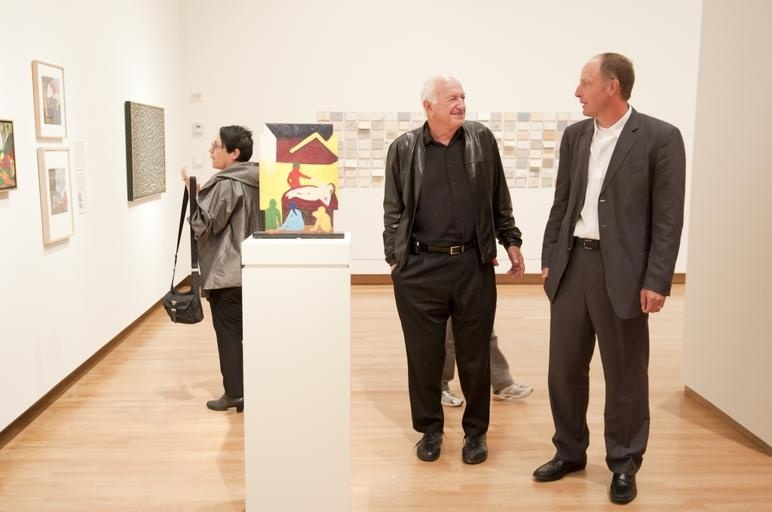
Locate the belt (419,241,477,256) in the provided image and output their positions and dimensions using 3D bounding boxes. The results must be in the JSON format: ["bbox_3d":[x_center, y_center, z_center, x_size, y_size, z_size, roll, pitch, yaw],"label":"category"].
[{"bbox_3d":[0.400,-0.045,4.047,0.404,0.075,0.069,0,15,2],"label":"belt"}]

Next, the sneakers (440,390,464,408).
[{"bbox_3d":[0.525,1.178,5.005,0.255,0.100,0.120,-1,-1,42],"label":"sneakers"}]

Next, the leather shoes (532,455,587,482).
[{"bbox_3d":[1.160,1.403,4.101,0.425,0.166,0.142,-5,-4,-20],"label":"leather shoes"}]

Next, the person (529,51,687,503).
[{"bbox_3d":[1.392,0.148,3.821,0.834,2.739,0.620,7,17,26],"label":"person"}]

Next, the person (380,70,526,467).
[{"bbox_3d":[0.366,0.127,4.109,0.778,2.593,0.549,-1,15,0],"label":"person"}]

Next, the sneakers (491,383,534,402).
[{"bbox_3d":[1.074,1.148,5.130,0.369,0.165,0.131,-5,5,3],"label":"sneakers"}]
